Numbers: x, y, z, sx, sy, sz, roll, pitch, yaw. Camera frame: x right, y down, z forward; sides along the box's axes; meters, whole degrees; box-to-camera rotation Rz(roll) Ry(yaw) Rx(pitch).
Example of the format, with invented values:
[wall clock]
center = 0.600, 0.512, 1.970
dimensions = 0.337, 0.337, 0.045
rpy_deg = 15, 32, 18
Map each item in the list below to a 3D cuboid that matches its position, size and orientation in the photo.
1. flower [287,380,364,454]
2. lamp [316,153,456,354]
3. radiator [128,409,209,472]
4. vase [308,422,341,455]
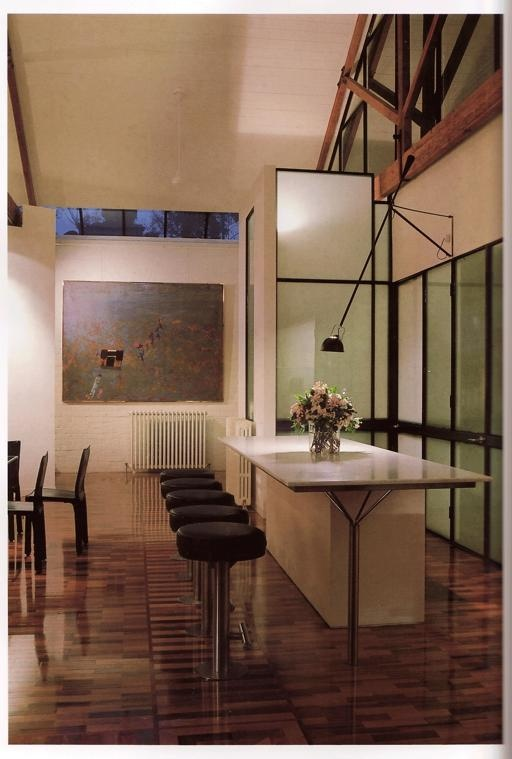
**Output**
[flower]
center = 0.391, 0.180, 3.662
dimensions = 0.355, 0.463, 0.372
rpy_deg = 3, 5, 39
[lamp]
center = 0.960, -0.928, 4.728
dimensions = 0.943, 1.532, 0.745
rpy_deg = -1, 36, 5
[radiator]
center = -1.268, 0.904, 9.083
dimensions = 1.080, 0.815, 0.205
rpy_deg = 0, -1, -11
[vase]
center = 0.380, 0.331, 3.593
dimensions = 0.138, 0.186, 0.155
rpy_deg = 1, 3, 9
